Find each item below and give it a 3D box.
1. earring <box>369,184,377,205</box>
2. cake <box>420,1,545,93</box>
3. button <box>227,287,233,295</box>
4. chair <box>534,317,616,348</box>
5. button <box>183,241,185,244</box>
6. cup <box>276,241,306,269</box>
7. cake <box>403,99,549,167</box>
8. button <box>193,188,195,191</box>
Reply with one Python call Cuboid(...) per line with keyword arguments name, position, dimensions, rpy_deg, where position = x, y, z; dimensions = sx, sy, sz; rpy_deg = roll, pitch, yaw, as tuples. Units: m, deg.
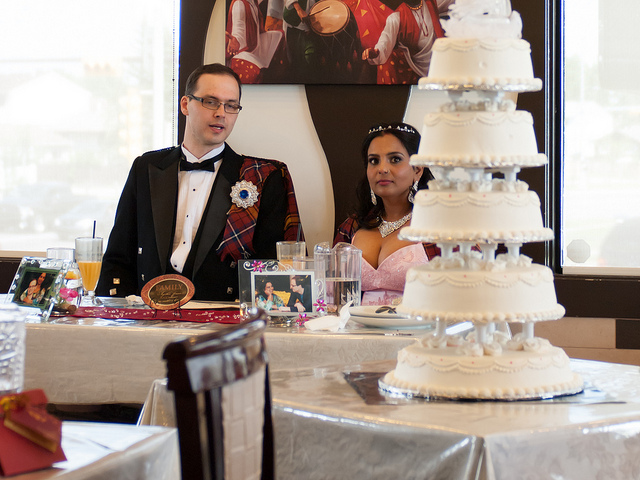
Cuboid(name="earring", position=(0.349, -0.298, 3.904), dimensions=(0.037, 0.109, 0.098), rpy_deg=(2, -1, 18))
Cuboid(name="cake", position=(0.515, -0.567, 1.909), dimensions=(0.304, 0.331, 0.316), rpy_deg=(0, 0, -6))
Cuboid(name="button", position=(-0.552, 0.313, 3.546), dimensions=(0.036, 0.040, 0.009), rpy_deg=(2, -2, 19))
Cuboid(name="chair", position=(1.725, 0.612, 3.930), dimensions=(0.479, 0.236, 0.284), rpy_deg=(1, -11, -1))
Cuboid(name="button", position=(-0.865, 0.020, 3.699), dimensions=(0.013, 0.014, 0.013), rpy_deg=(-1, 4, 9))
Cuboid(name="cup", position=(-0.134, 0.073, 2.752), dimensions=(0.113, 0.182, 0.119), rpy_deg=(0, -1, 0))
Cuboid(name="cake", position=(0.520, -0.335, 1.969), dimensions=(0.457, 0.202, 0.492), rpy_deg=(0, 8, -8))
Cuboid(name="button", position=(-0.814, -0.319, 3.751), dimensions=(0.015, 0.016, 0.016), rpy_deg=(-1, 4, 12))
